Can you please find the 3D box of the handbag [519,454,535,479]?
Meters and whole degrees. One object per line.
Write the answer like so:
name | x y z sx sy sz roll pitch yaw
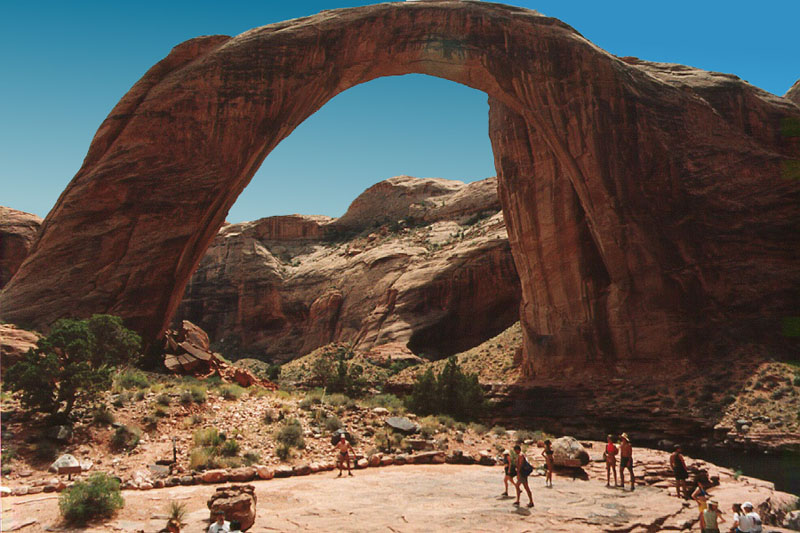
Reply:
handbag | 3.811 6.163 29.139 0.409 0.741 0.247 1 13 -10

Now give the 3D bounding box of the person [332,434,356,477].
person | -1.960 6.387 31.896 1.107 1.647 0.592 -3 -37 -3

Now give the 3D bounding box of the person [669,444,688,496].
person | 8.800 6.375 30.079 0.599 1.572 1.110 7 13 15

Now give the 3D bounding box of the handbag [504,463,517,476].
handbag | 3.382 6.323 29.479 0.390 0.327 0.367 7 -20 -15

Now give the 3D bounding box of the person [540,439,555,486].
person | 4.845 6.348 31.086 0.400 1.368 1.784 6 12 9
